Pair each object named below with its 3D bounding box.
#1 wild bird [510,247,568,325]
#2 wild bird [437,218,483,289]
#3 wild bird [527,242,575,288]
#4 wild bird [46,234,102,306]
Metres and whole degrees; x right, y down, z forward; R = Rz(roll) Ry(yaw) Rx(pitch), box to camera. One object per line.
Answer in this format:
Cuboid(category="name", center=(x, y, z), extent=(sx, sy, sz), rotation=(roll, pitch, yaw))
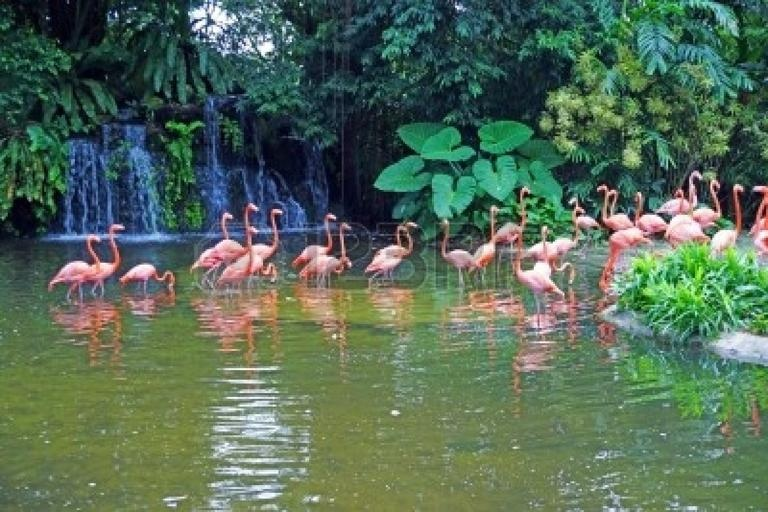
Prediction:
Cuboid(category="wild bird", center=(2.808, 0.398, 16.037), extent=(1.010, 1.321, 0.446), rotation=(-1, 13, 28))
Cuboid(category="wild bird", center=(1.646, -0.065, 19.459), extent=(0.858, 1.379, 0.439), rotation=(4, 22, 29))
Cuboid(category="wild bird", center=(3.543, 0.190, 18.792), extent=(1.168, 0.795, 0.470), rotation=(32, 18, 34))
Cuboid(category="wild bird", center=(-6.143, 0.199, 17.732), extent=(0.918, 1.414, 0.495), rotation=(7, 15, 8))
